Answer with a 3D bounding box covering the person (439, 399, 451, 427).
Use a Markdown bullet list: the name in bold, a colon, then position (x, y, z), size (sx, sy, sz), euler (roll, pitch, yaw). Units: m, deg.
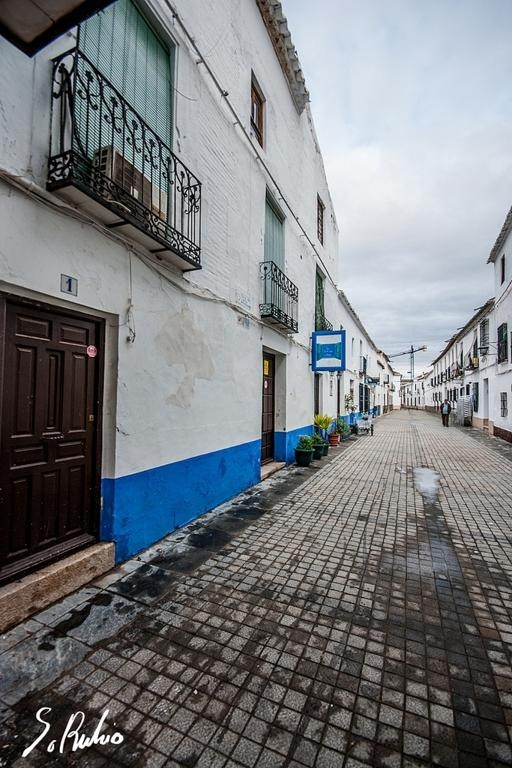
- **person**: position (7.591, 1.224, 19.143), size (0.243, 1.093, 1.648), euler (3, 6, 20)
